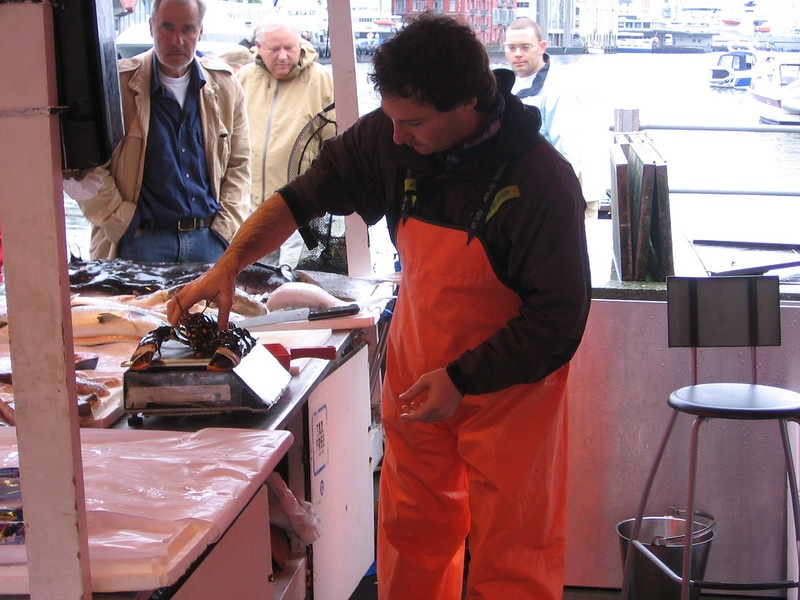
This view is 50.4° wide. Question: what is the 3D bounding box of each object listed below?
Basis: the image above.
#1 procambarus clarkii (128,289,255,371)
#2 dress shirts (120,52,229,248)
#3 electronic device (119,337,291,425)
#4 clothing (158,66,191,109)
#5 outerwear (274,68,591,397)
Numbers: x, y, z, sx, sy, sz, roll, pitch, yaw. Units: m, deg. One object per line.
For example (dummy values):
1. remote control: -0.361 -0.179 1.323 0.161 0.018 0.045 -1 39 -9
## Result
1. procambarus clarkii: -0.520 0.064 2.166 0.160 0.085 0.233 5 15 23
2. dress shirts: -0.997 -0.579 3.824 0.413 1.008 0.320 -2 -12 -15
3. electronic device: -0.495 0.220 2.159 0.254 0.110 0.240 -1 12 0
4. clothing: -0.968 -0.929 3.699 0.126 0.143 0.109 6 -31 5
5. outerwear: 0.121 -0.195 2.274 0.765 0.830 0.296 4 6 43
